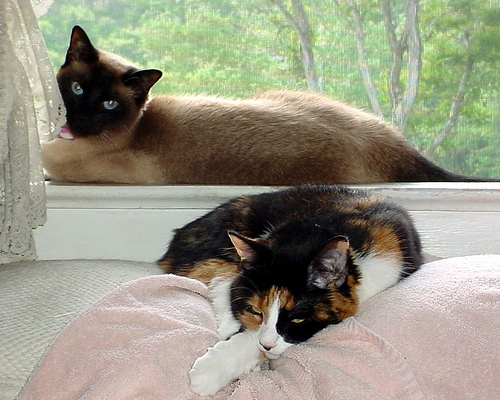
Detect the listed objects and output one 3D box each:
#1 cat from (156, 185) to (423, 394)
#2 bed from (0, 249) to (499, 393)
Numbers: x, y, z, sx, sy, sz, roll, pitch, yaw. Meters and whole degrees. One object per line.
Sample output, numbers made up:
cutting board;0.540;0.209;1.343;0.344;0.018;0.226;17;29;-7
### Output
cat;0.141;0.200;1.517;0.585;0.177;0.435;-27;19;-35
bed;0.005;0.277;1.258;0.736;0.079;0.461;2;12;1
